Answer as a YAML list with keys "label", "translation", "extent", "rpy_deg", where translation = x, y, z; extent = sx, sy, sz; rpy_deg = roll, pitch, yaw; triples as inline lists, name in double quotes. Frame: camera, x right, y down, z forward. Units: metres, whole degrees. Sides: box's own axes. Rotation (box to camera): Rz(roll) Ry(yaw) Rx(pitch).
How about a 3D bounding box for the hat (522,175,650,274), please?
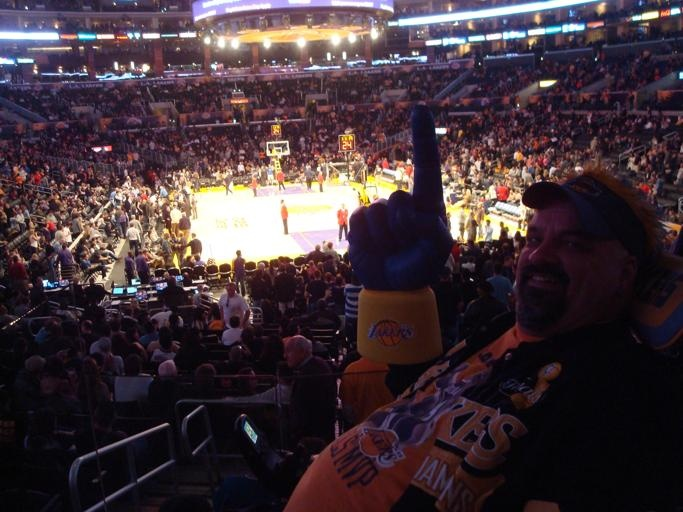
- label: "hat"
  translation: [0.833, -0.112, 1.814]
  extent: [0.381, 0.317, 0.153]
  rpy_deg: [-3, 4, 24]
